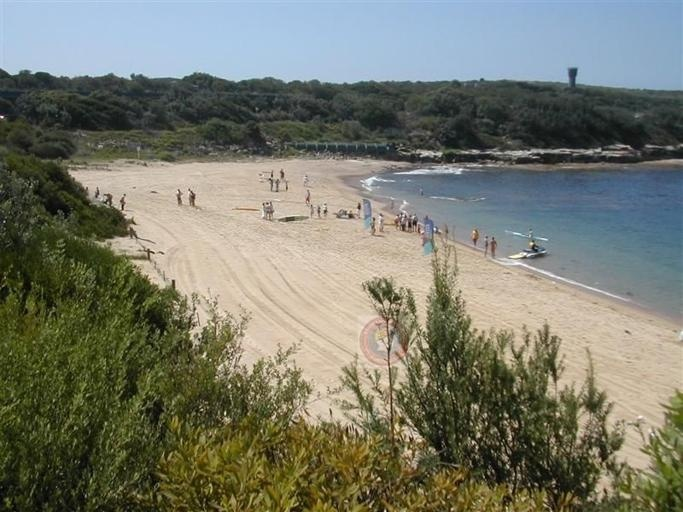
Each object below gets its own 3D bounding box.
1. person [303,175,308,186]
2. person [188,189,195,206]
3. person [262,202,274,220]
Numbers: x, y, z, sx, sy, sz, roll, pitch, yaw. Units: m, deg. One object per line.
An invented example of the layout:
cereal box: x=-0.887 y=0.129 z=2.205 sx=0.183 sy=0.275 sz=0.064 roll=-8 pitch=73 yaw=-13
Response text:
person: x=-2.981 y=-6.327 z=49.316 sx=0.657 sy=0.831 sz=1.279 roll=-1 pitch=7 yaw=-4
person: x=-8.118 y=-3.156 z=31.915 sx=0.306 sy=0.873 sz=1.543 roll=-3 pitch=14 yaw=-17
person: x=-3.790 y=-2.309 z=30.103 sx=0.513 sy=0.771 sz=0.955 roll=-2 pitch=13 yaw=-14
